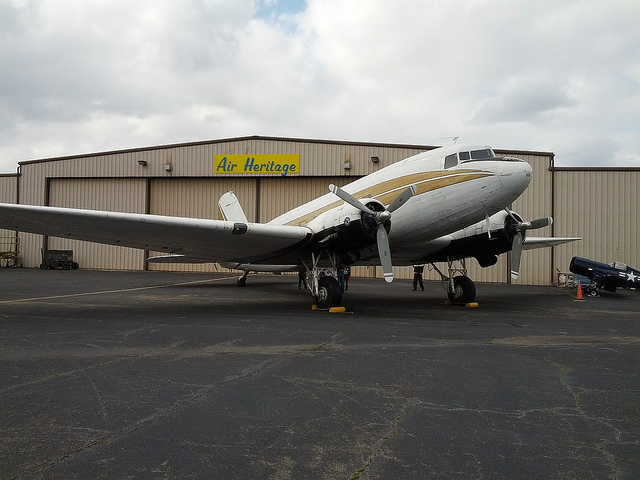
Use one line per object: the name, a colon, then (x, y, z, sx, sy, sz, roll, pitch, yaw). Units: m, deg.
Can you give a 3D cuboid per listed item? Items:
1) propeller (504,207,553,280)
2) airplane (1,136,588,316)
propeller: (6.218, -0.379, 14.983, 1.308, 2.898, 0.671, 4, -8, -3)
airplane: (-1.309, -0.178, 16.333, 13.352, 5.380, 10.514, -1, 3, -24)
